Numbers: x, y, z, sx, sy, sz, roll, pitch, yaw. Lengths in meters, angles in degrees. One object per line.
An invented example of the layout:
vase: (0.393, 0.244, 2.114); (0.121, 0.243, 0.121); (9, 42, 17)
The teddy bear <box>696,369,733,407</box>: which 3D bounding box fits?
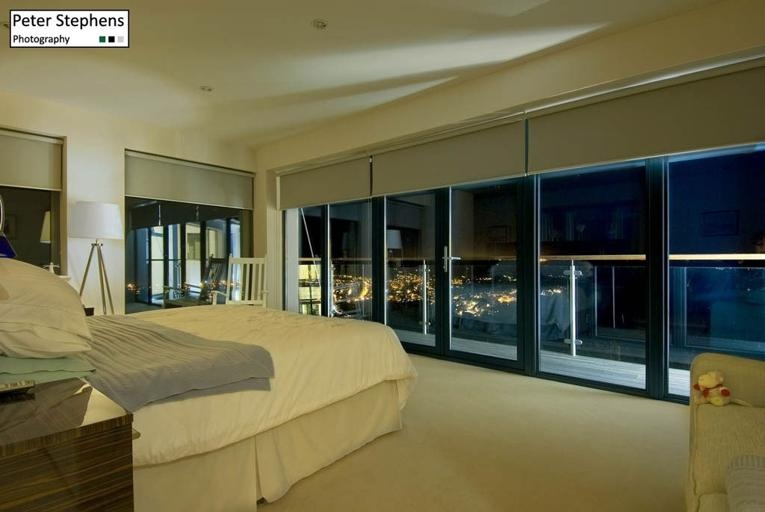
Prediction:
teddy bear: (1.887, 0.767, 3.098); (0.179, 0.211, 0.157); (-2, -12, 26)
